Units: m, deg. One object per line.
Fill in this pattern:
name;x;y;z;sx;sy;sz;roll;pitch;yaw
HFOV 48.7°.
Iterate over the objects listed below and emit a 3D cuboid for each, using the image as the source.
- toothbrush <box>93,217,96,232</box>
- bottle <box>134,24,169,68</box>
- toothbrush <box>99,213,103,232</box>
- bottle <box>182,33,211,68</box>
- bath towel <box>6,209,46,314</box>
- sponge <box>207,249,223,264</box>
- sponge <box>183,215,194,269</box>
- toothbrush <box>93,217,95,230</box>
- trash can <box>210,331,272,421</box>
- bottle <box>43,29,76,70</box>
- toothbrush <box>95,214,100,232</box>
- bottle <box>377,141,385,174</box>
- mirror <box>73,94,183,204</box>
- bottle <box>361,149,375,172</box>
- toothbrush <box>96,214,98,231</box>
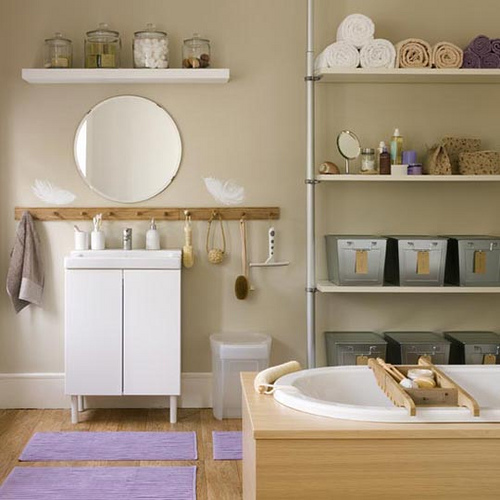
toothbrush;-0.924;-0.158;3.319;0.014;0.085;0.106;-2;7;-16
bottle;-0.569;-1.164;3.212;0.221;0.262;0.221;-5;12;-34
toothbrush;-0.889;-0.172;3.324;0.022;0.104;0.013;1;3;-15
bottle;-0.307;-1.154;3.228;0.168;0.209;0.175;0;2;-1
bath towel;-1.314;0.062;3.277;0.167;0.602;0.184;1;6;8
sponge;-0.210;0.039;3.371;0.095;0.091;0.046;0;6;-6
sponge;-0.369;-0.053;3.355;0.066;0.318;0.065;-1;6;-8
toothbrush;-0.927;-0.164;3.319;0.009;0.071;0.102;-2;7;-17
trash can;-0.055;0.741;3.277;0.349;0.466;0.332;0;6;-5
bottle;-1.119;-1.178;3.266;0.169;0.204;0.172;-5;14;-22
toothbrush;-0.896;-0.154;3.279;0.022;0.085;0.021;3;-9;-3
bottle;0.769;-0.545;3.249;0.038;0.188;0.078;1;6;9
mirror;-0.717;-0.588;3.332;0.632;0.649;0.041;1;9;-11
bottle;0.685;-0.523;3.222;0.072;0.131;0.090;1;6;9
toothbrush;-0.902;-0.162;3.302;0.016;0.103;0.026;-2;-7;7
